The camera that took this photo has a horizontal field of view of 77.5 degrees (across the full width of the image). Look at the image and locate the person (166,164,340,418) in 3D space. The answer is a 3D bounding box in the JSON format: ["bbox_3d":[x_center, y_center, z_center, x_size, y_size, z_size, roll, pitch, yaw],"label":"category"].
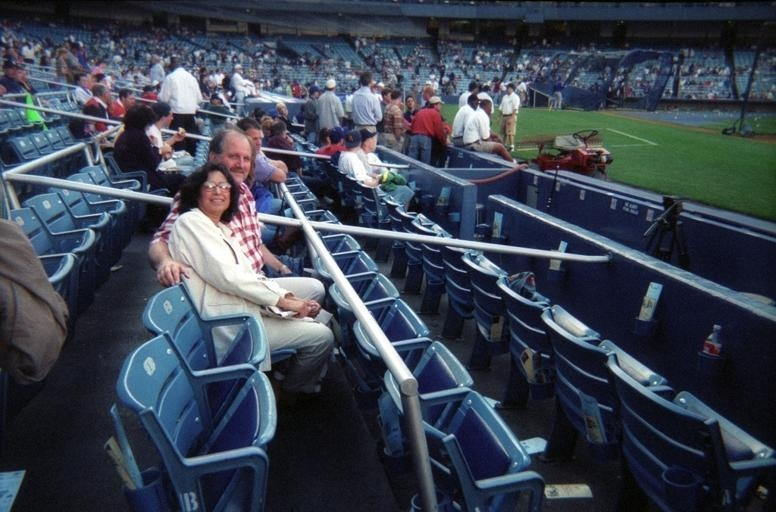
[{"bbox_3d":[-0.917,0.256,3.267,1.017,1.584,0.701,-4,5,-21],"label":"person"}]

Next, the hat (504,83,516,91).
[{"bbox_3d":[3.229,-4.413,12.710,0.265,0.257,0.213,-3,3,-6],"label":"hat"}]

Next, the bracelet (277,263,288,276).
[{"bbox_3d":[-0.875,0.105,4.030,0.066,0.037,0.086,22,19,-31],"label":"bracelet"}]

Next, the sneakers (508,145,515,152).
[{"bbox_3d":[3.421,-2.979,13.406,0.165,0.179,0.418,-1,6,11],"label":"sneakers"}]

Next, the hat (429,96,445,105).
[{"bbox_3d":[0.931,-2.886,9.176,0.293,0.145,0.214,-18,31,-28],"label":"hat"}]

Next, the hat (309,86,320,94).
[{"bbox_3d":[-1.607,-3.564,10.443,0.141,0.181,0.181,29,19,37],"label":"hat"}]

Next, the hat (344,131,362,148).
[{"bbox_3d":[-0.484,-1.622,6.636,0.174,0.133,0.256,3,45,3],"label":"hat"}]

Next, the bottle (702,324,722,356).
[{"bbox_3d":[2.024,0.506,2.993,0.093,0.181,0.181,16,24,35],"label":"bottle"}]
